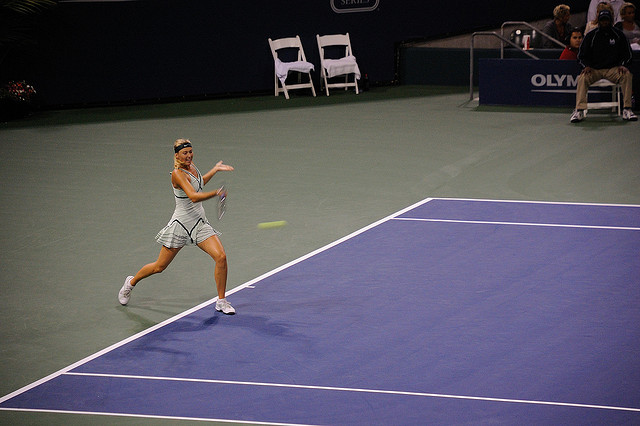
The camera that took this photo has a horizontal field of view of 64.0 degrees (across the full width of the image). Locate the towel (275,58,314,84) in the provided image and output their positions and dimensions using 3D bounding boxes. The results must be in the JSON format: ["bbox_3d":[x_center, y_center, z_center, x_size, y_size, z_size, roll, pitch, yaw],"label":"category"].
[{"bbox_3d":[-0.896,-4.822,17.640,0.921,0.496,0.917,-6,15,-41],"label":"towel"}]

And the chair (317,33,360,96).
[{"bbox_3d":[0.667,-5.423,18.654,1.478,2.221,1.709,-7,13,-1],"label":"chair"}]

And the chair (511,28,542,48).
[{"bbox_3d":[7.509,-6.371,18.620,1.014,0.803,2.993,-1,14,24],"label":"chair"}]

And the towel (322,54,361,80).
[{"bbox_3d":[0.875,-5.226,18.468,1.264,0.500,1.259,3,15,18],"label":"towel"}]

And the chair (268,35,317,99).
[{"bbox_3d":[-0.969,-5.178,18.071,1.497,2.150,1.458,-7,13,1],"label":"chair"}]

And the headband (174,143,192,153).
[{"bbox_3d":[-1.329,-0.636,4.959,0.151,0.082,0.175,-9,13,-13],"label":"headband"}]

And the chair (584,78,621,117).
[{"bbox_3d":[7.399,-3.018,13.321,0.715,0.984,1.177,3,16,35],"label":"chair"}]
